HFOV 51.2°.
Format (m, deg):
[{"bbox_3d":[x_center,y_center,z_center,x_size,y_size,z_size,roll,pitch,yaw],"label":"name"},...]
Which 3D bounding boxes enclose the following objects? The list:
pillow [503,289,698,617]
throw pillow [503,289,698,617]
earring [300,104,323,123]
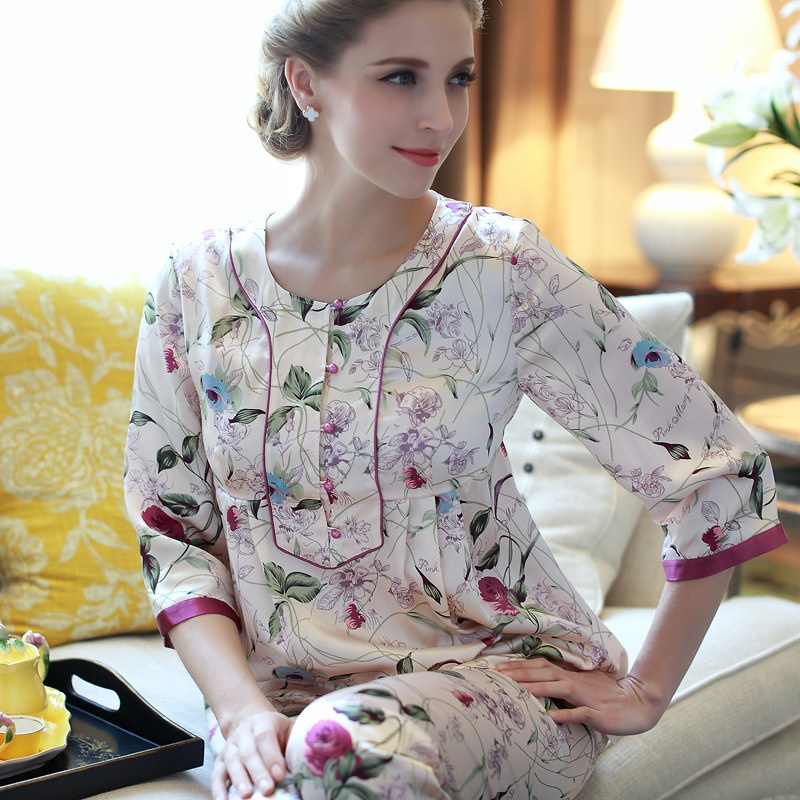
[{"bbox_3d":[0.320,0.132,1.618,0.197,0.544,0.540,-1,45,-18],"label":"pillow"},{"bbox_3d":[0.310,0.133,1.620,0.197,0.544,0.540,-1,45,-18],"label":"throw pillow"},{"bbox_3d":[-0.112,-0.363,1.055,0.034,0.026,0.004,0,26,3],"label":"earring"}]
